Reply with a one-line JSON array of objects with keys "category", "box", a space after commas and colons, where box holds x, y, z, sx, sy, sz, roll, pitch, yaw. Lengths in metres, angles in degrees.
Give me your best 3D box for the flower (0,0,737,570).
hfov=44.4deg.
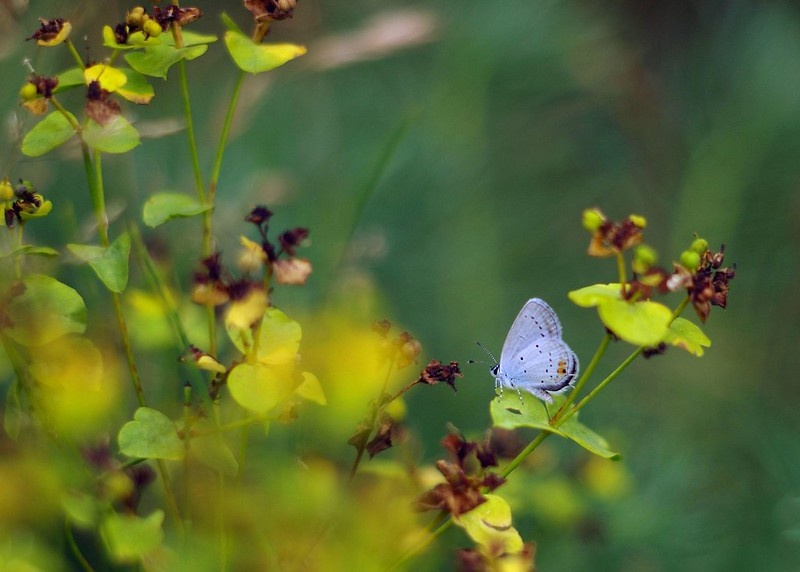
[{"category": "flower", "box": [-0.023, -0.079, 0.949, 0.573, 0.559, 0.254, 35, 71, 4]}]
